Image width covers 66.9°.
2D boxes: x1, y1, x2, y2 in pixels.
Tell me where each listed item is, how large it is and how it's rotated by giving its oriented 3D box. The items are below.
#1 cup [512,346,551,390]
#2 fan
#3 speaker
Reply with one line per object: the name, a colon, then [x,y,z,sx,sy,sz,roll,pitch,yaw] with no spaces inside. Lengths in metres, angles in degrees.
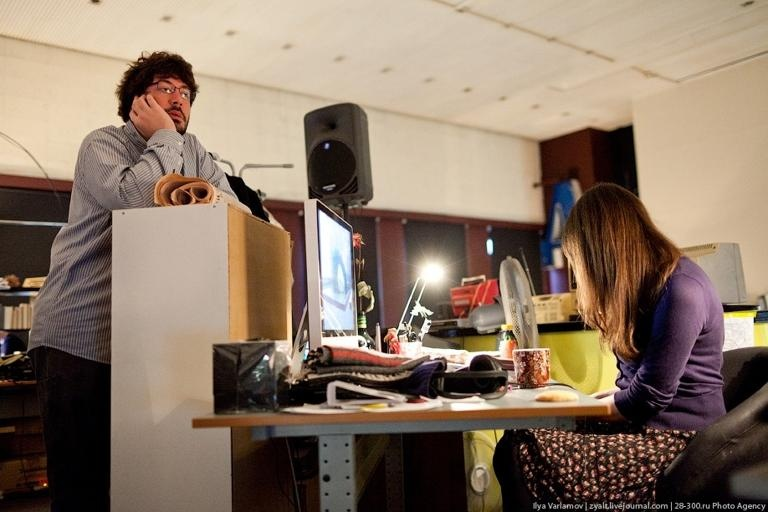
cup: [0.547,0.415,2.230,0.143,0.134,0.127,1,-6,-14]
fan: [0.734,0.319,3.947,0.274,0.454,0.466,-11,-27,0]
speaker: [-0.307,-0.620,3.668,0.432,0.662,0.226,-2,-4,4]
